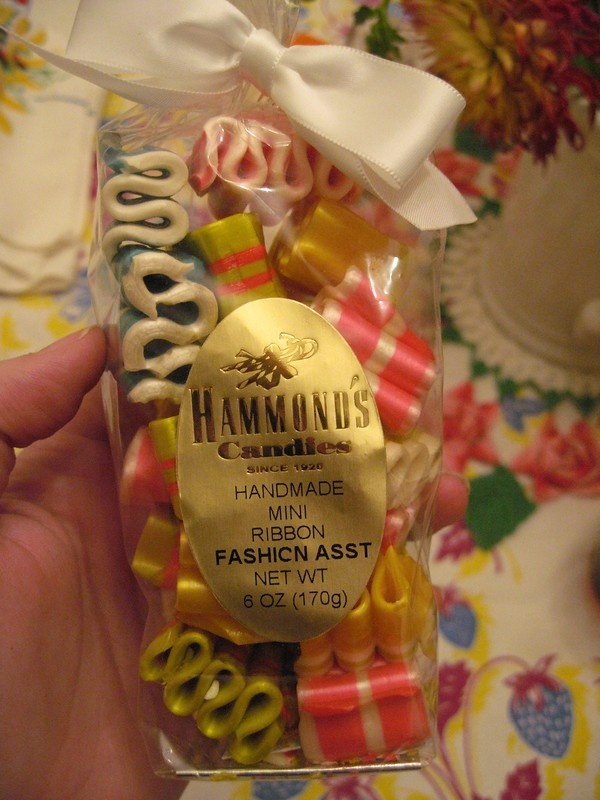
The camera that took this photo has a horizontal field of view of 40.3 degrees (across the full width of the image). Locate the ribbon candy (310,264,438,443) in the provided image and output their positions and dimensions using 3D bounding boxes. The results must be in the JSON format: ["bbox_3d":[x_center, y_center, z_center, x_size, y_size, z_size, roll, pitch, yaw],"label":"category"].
[{"bbox_3d":[0.086,-0.038,0.896,0.175,0.063,0.177,46,34,-25],"label":"ribbon candy"}]

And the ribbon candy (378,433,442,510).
[{"bbox_3d":[0.115,0.075,0.913,0.070,0.078,0.032,-6,28,-29],"label":"ribbon candy"}]

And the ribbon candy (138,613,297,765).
[{"bbox_3d":[-0.090,0.311,0.921,0.124,0.213,0.083,32,65,-27],"label":"ribbon candy"}]

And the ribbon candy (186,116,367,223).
[{"bbox_3d":[-0.044,-0.288,0.953,0.115,0.061,0.199,15,22,43],"label":"ribbon candy"}]

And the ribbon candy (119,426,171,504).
[{"bbox_3d":[-0.173,0.074,0.888,0.033,0.081,0.067,4,93,32],"label":"ribbon candy"}]

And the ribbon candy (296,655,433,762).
[{"bbox_3d":[0.059,0.336,0.888,0.141,0.046,0.095,-8,97,-6],"label":"ribbon candy"}]

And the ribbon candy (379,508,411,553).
[{"bbox_3d":[0.109,0.143,0.904,0.036,0.039,0.044,-1,36,13],"label":"ribbon candy"}]

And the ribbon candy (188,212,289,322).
[{"bbox_3d":[-0.066,-0.138,0.867,0.105,0.078,0.113,-26,98,-11],"label":"ribbon candy"}]
